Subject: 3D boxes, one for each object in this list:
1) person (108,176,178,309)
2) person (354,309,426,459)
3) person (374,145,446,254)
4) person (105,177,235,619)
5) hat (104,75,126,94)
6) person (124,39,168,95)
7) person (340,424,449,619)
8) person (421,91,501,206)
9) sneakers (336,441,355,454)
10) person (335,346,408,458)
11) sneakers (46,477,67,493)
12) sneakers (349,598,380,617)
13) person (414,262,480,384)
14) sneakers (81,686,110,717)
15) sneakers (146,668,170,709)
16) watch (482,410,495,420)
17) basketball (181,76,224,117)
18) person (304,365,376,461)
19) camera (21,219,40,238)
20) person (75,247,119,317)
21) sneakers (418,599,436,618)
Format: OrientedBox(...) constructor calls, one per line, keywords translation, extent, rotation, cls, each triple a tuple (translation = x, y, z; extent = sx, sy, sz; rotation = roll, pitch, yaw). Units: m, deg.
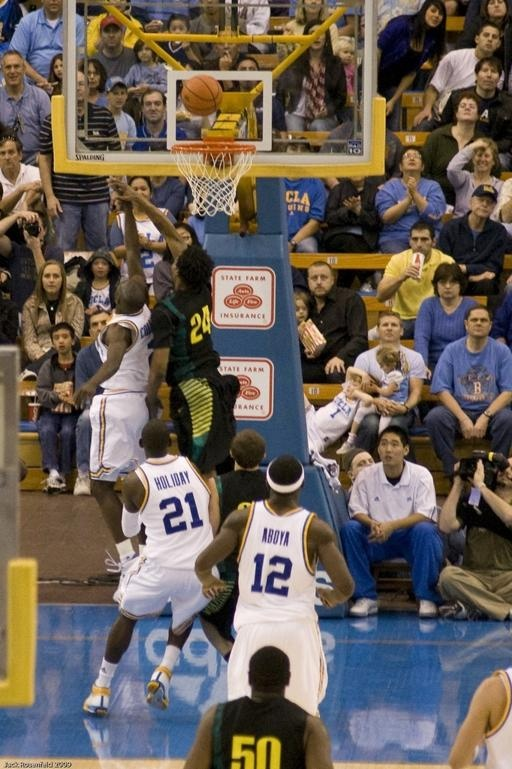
OrientedBox(translation=(-1.165, -1.278, 9.394), extent=(0.698, 1.738, 0.571), rotation=(0, 25, 0), cls="person")
OrientedBox(translation=(1.131, 0.031, 8.067), extent=(0.751, 1.377, 0.855), rotation=(8, 13, 27), cls="person")
OrientedBox(translation=(1.682, -1.966, 9.736), extent=(0.861, 1.158, 0.895), rotation=(-13, 21, -28), cls="person")
OrientedBox(translation=(-0.448, 0.045, 6.177), extent=(0.780, 2.662, 0.717), rotation=(-9, 24, -7), cls="person")
OrientedBox(translation=(-1.667, -3.537, 10.584), extent=(0.249, 0.343, 0.361), rotation=(-2, 16, -13), cls="hat")
OrientedBox(translation=(-1.217, -3.400, 9.844), extent=(0.534, 0.707, 0.429), rotation=(4, 24, 15), cls="person")
OrientedBox(translation=(1.047, 1.014, 6.760), extent=(0.805, 1.391, 0.867), rotation=(-4, -6, 37), cls="person")
OrientedBox(translation=(2.411, -2.771, 10.699), extent=(0.950, 1.376, 0.841), rotation=(6, 15, 5), cls="person")
OrientedBox(translation=(0.788, 0.570, 7.996), extent=(0.195, 0.085, 0.066), rotation=(-32, 0, 4), cls="sneakers")
OrientedBox(translation=(1.045, 0.126, 8.091), extent=(0.688, 1.021, 0.468), rotation=(-23, 35, -36), cls="person")
OrientedBox(translation=(-1.887, 0.937, 8.486), extent=(0.197, 0.186, 0.161), rotation=(-1, 4, -22), cls="sneakers")
OrientedBox(translation=(0.791, 1.634, 6.572), extent=(0.090, 0.108, 0.250), rotation=(0, -7, 35), cls="sneakers")
OrientedBox(translation=(1.757, -0.560, 8.296), extent=(0.715, 0.994, 0.813), rotation=(-2, 19, 1), cls="person")
OrientedBox(translation=(-0.859, 1.686, 4.802), extent=(0.106, 0.129, 0.191), rotation=(5, -1, -11), cls="sneakers")
OrientedBox(translation=(-0.499, 1.584, 4.763), extent=(0.097, 0.119, 0.277), rotation=(10, -6, 2), cls="sneakers")
OrientedBox(translation=(1.950, 0.257, 7.548), extent=(0.068, 0.064, 0.026), rotation=(3, -9, -5), cls="watch")
OrientedBox(translation=(-0.359, -1.922, 5.944), extent=(0.250, 0.273, 0.233), rotation=(1, 3, 4), cls="basketball")
OrientedBox(translation=(0.694, 0.215, 7.777), extent=(0.905, 0.432, 0.361), rotation=(-42, -21, -2), cls="person")
OrientedBox(translation=(-2.373, -1.636, 9.489), extent=(0.153, 0.148, 0.146), rotation=(-4, 16, 0), cls="camera")
OrientedBox(translation=(-1.652, -1.086, 9.417), extent=(0.510, 0.766, 0.302), rotation=(4, 11, 10), cls="person")
OrientedBox(translation=(1.251, 1.641, 6.595), extent=(0.141, 0.131, 0.146), rotation=(1, 3, 16), cls="sneakers")
